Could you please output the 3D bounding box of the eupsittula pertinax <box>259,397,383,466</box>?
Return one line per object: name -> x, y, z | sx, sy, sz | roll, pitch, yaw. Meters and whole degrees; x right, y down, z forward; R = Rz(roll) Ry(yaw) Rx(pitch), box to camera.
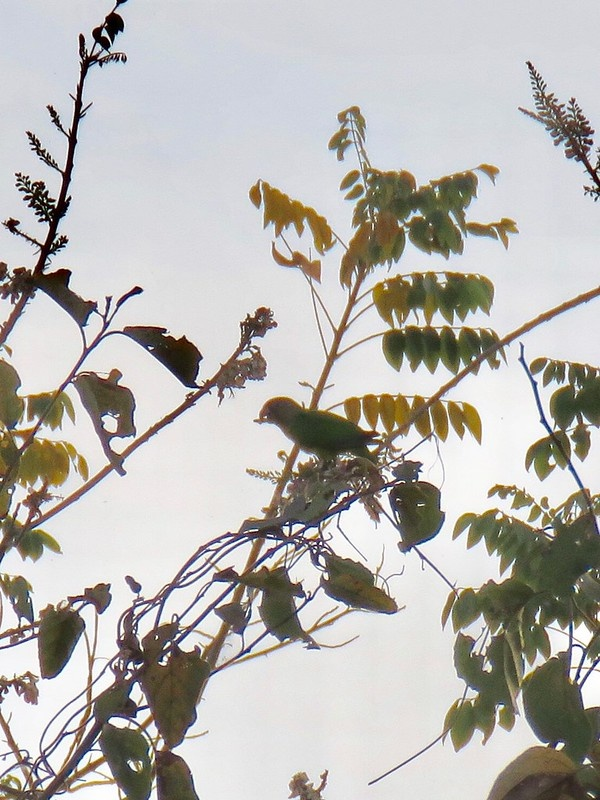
eupsittula pertinax -> 0.018, 0.031, 1.911 | 0.112, 0.049, 0.046 | 9, -47, -17
